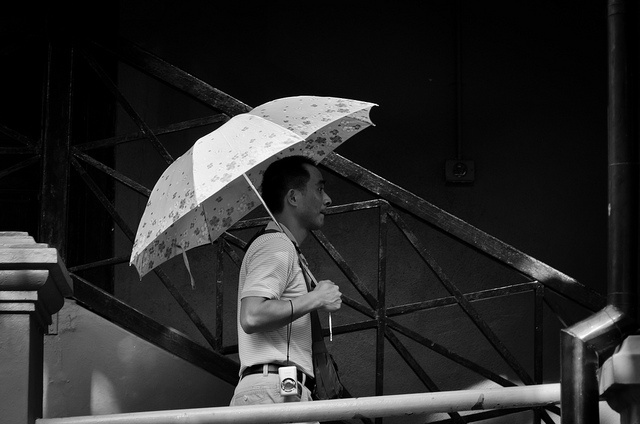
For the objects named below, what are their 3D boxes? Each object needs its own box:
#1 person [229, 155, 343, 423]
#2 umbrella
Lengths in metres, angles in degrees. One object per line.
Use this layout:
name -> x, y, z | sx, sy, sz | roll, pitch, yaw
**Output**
person -> -0.173, 0.457, 4.235 | 0.574, 1.619, 0.647 | 1, -45, -5
umbrella -> -0.572, -0.165, 4.421 | 1.327, 0.475, 1.294 | -30, -19, -33
